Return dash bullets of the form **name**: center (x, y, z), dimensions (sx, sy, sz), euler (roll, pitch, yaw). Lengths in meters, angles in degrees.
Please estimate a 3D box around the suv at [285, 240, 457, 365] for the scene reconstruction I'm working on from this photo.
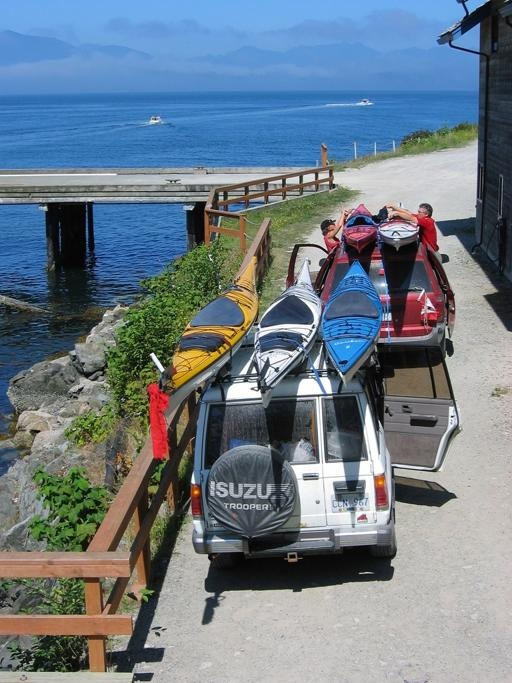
- **suv**: center (2.644, -1.117, 10.512), dimensions (3.024, 1.825, 4.191), euler (-1, 21, 16)

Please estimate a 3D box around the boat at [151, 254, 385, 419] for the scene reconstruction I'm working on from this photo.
- **boat**: center (0.125, -0.128, 6.511), dimensions (2.087, 0.771, 3.646), euler (-2, 22, 9)

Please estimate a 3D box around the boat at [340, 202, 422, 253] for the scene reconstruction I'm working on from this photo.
- **boat**: center (2.205, -1.945, 9.660), dimensions (0.879, 0.320, 1.559), euler (4, 31, 12)

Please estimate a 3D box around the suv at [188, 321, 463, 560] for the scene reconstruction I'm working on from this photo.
- **suv**: center (0.810, 1.008, 5.975), dimensions (2.791, 1.890, 3.644), euler (-4, 4, 13)
